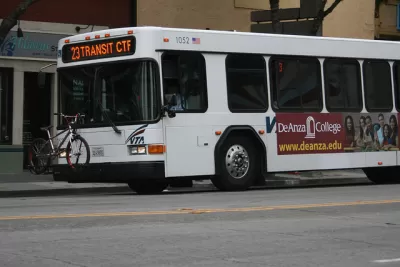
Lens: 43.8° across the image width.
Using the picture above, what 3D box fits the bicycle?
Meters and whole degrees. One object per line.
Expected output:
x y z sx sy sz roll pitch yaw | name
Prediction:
-3.686 0.266 13.264 1.983 1.403 0.662 0 1 26 | bicycle
